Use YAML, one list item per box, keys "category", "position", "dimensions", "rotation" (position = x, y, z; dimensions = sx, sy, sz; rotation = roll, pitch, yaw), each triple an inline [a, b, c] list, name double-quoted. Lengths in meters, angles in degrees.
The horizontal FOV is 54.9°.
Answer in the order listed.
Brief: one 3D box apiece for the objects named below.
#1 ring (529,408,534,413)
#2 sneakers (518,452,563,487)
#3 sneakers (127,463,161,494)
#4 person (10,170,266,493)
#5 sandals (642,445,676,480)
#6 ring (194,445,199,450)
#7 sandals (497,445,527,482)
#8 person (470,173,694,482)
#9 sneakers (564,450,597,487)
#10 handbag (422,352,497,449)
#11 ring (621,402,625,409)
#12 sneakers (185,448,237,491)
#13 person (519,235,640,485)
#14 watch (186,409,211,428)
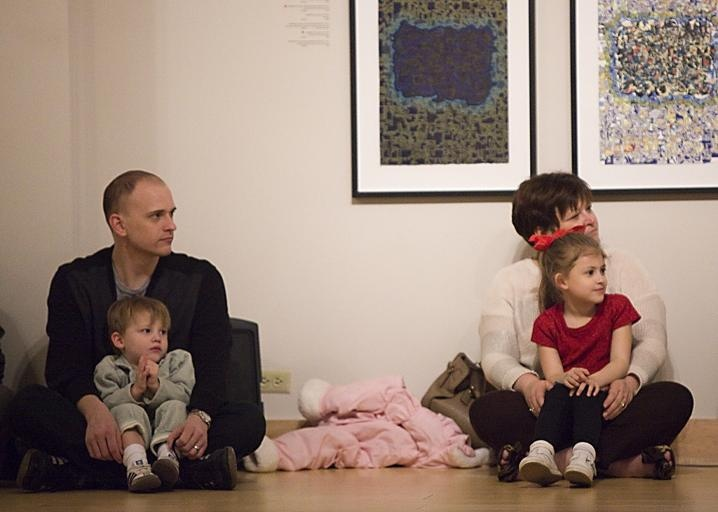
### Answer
- category: "ring"
  position: [0.683, 0.617, 2.737]
  dimensions: [0.004, 0.012, 0.016]
  rotation: [-34, 30, -10]
- category: "sneakers"
  position: [0.653, 0.779, 2.489]
  dimensions: [0.083, 0.082, 0.193]
  rotation: [-3, -30, 12]
- category: "sneakers"
  position: [-0.753, 0.790, 2.416]
  dimensions: [0.070, 0.076, 0.159]
  rotation: [5, -15, -26]
- category: "person"
  position: [-0.888, 0.283, 2.748]
  dimensions: [0.836, 1.125, 0.783]
  rotation: [2, 9, -17]
- category: "sandals"
  position: [1.165, 0.793, 2.689]
  dimensions: [0.130, 0.105, 0.071]
  rotation: [33, 10, 15]
- category: "ring"
  position: [-0.592, 0.703, 2.517]
  dimensions: [0.016, 0.011, 0.016]
  rotation: [7, -23, 3]
- category: "sandals"
  position: [0.609, 0.782, 2.727]
  dimensions: [0.072, 0.086, 0.203]
  rotation: [-28, 22, 41]
- category: "person"
  position: [0.975, 0.261, 2.993]
  dimensions: [0.890, 1.276, 0.869]
  rotation: [-4, 0, 28]
- category: "sneakers"
  position: [0.815, 0.755, 2.551]
  dimensions: [0.091, 0.094, 0.197]
  rotation: [-7, -3, 30]
- category: "handbag"
  position: [0.460, 0.673, 3.200]
  dimensions: [0.147, 0.359, 0.355]
  rotation: [-21, 29, 35]
- category: "ring"
  position: [1.017, 0.579, 2.662]
  dimensions: [0.014, 0.008, 0.021]
  rotation: [3, 51, 7]
- category: "sneakers"
  position: [-0.551, 0.806, 2.581]
  dimensions: [0.238, 0.101, 0.106]
  rotation: [2, -3, -2]
- category: "person"
  position: [0.862, 0.389, 2.708]
  dimensions: [0.438, 0.980, 0.627]
  rotation: [-1, -2, 22]
- category: "watch"
  position: [-0.595, 0.618, 2.587]
  dimensions: [0.085, 0.076, 0.076]
  rotation: [1, -3, -15]
